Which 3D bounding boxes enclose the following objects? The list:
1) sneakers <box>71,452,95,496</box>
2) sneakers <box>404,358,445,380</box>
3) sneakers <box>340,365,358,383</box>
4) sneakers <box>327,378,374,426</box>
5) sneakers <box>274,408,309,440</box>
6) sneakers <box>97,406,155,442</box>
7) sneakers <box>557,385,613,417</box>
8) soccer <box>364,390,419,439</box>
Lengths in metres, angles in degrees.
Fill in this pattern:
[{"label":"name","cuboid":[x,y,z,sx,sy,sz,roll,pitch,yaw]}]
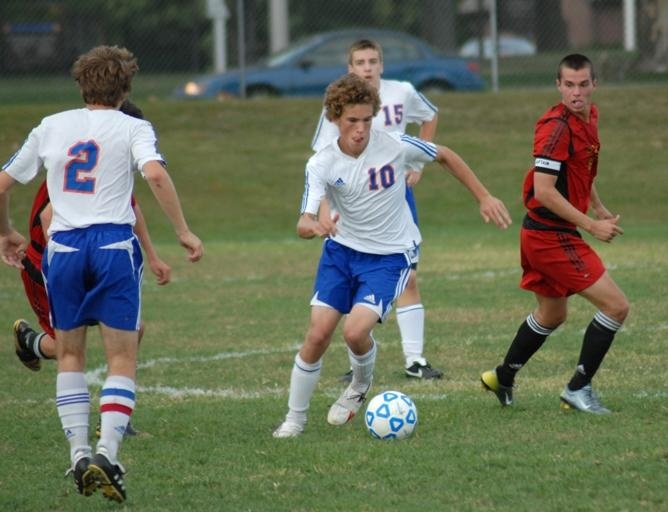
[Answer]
[{"label":"sneakers","cuboid":[-1.647,1.448,7.702,0.119,0.256,0.134,-21,36,-15]},{"label":"sneakers","cuboid":[0.739,0.950,9.554,0.303,0.132,0.123,0,-1,19]},{"label":"sneakers","cuboid":[0.108,0.979,9.666,0.092,0.041,0.161,-2,18,27]},{"label":"sneakers","cuboid":[0.098,1.126,8.817,0.184,0.443,0.184,40,-2,9]},{"label":"sneakers","cuboid":[-0.369,1.241,8.549,0.342,0.232,0.119,0,-1,-33]},{"label":"sneakers","cuboid":[-1.580,1.276,8.602,0.484,0.225,0.150,0,2,-2]},{"label":"sneakers","cuboid":[1.859,1.080,8.698,0.418,0.203,0.150,8,3,11]},{"label":"soccer","cuboid":[0.401,1.161,8.548,0.329,0.314,0.331,-9,52,-11]}]
